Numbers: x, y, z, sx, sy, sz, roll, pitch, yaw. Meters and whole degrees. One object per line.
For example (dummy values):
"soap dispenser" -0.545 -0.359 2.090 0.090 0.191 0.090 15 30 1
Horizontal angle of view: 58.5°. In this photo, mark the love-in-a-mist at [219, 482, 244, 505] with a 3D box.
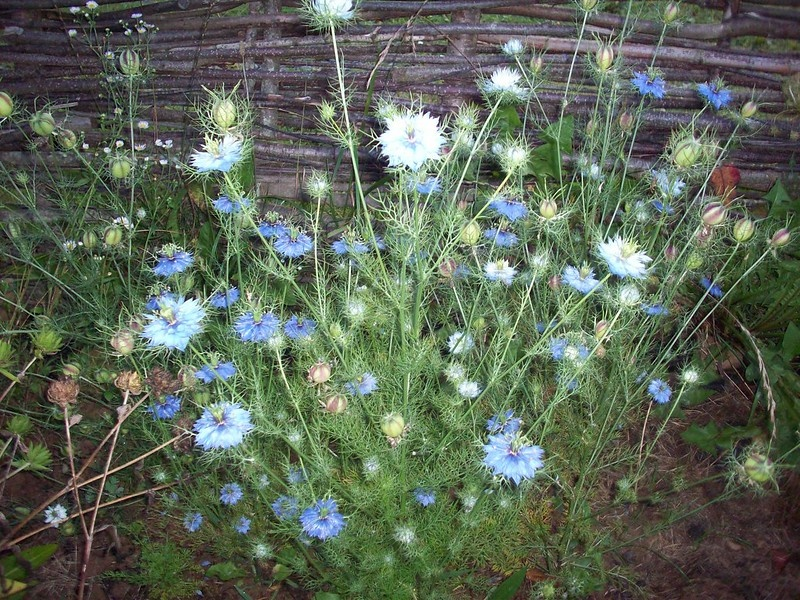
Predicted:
"love-in-a-mist" -0.577 0.648 2.426 0.073 0.056 0.072 5 30 -6

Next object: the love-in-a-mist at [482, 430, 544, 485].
"love-in-a-mist" 0.323 0.442 2.038 0.150 0.074 0.152 37 60 23

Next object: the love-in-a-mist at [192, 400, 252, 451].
"love-in-a-mist" -0.505 0.354 2.032 0.158 0.126 0.151 -6 33 -23

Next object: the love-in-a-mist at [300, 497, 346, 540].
"love-in-a-mist" -0.236 0.659 2.172 0.120 0.066 0.129 32 38 34

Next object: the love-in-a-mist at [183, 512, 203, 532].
"love-in-a-mist" -0.711 0.767 2.455 0.061 0.081 0.045 -4 31 -20
